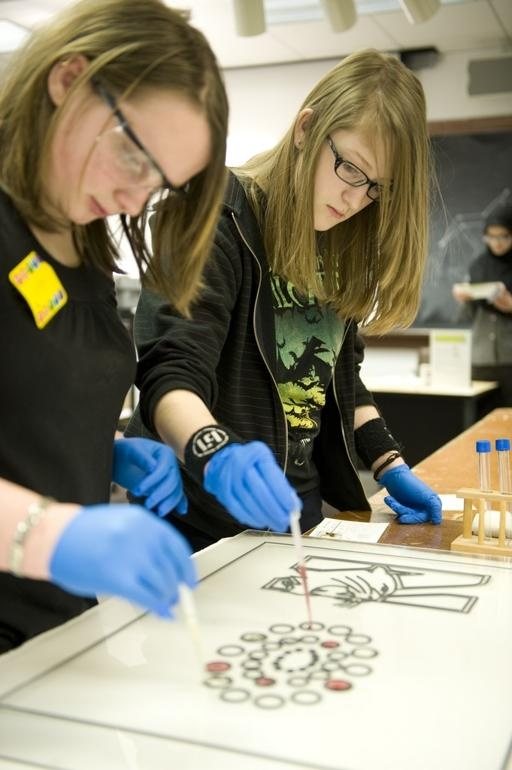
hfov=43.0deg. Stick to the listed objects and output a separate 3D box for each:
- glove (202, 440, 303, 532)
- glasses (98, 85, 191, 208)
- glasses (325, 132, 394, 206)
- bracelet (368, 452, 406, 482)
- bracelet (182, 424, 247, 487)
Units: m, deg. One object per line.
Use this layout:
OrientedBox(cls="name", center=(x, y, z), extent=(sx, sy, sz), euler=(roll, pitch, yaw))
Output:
OrientedBox(cls="glove", center=(0.003, 0.135, 1.059), extent=(0.162, 0.119, 0.074), euler=(49, 37, 16))
OrientedBox(cls="glasses", center=(-0.143, -0.325, 0.874), extent=(0.052, 0.171, 0.146), euler=(-3, 28, 19))
OrientedBox(cls="glasses", center=(0.222, -0.472, 1.435), extent=(0.035, 0.119, 0.117), euler=(-38, 64, 20))
OrientedBox(cls="bracelet", center=(0.362, 0.215, 1.830), extent=(0.089, 0.074, 0.034), euler=(-38, 53, -4))
OrientedBox(cls="bracelet", center=(-0.071, 0.120, 1.176), extent=(0.100, 0.098, 0.090), euler=(-33, 36, 32))
